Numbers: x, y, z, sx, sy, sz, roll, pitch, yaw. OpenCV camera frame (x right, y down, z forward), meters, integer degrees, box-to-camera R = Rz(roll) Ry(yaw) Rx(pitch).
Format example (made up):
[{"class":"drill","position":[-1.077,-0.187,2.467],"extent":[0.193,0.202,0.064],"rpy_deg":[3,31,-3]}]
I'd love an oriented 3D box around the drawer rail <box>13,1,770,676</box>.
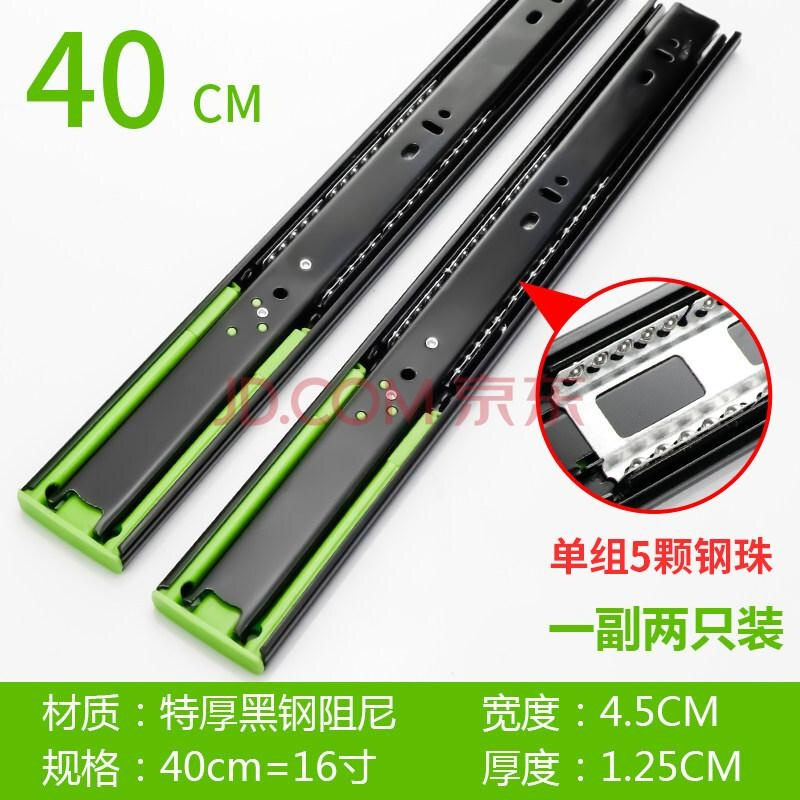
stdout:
[{"class":"drawer rail","position":[0.277,-0.319,2.512],"extent":[0.942,3.362,0.295],"rpy_deg":[30,-24,13]}]
